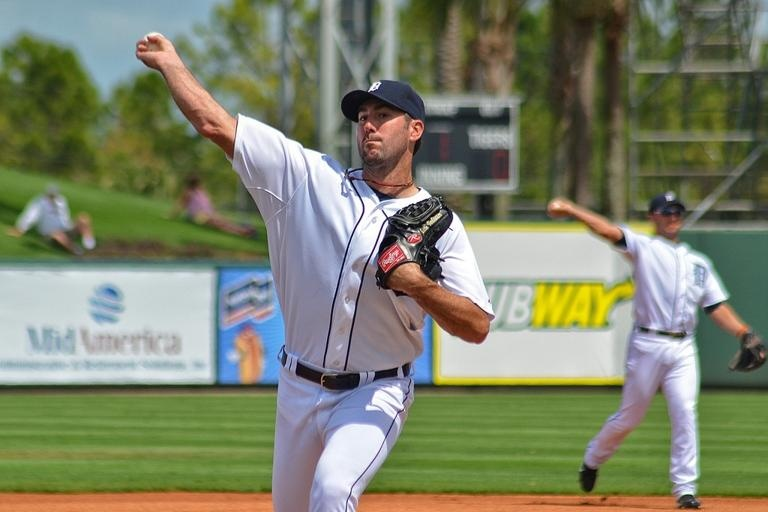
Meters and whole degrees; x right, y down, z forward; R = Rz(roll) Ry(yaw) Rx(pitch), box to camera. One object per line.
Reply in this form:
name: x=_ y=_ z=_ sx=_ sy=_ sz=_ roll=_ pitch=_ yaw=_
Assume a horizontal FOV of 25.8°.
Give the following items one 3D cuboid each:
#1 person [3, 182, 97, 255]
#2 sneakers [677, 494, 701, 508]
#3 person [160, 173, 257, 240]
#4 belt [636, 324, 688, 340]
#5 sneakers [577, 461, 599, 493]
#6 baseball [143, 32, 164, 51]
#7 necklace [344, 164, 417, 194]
person: x=-3.891 y=-0.458 z=20.140 sx=0.653 sy=0.853 sz=1.118 roll=2 pitch=5 yaw=33
sneakers: x=3.247 y=2.636 z=17.979 sx=0.121 sy=0.130 sz=0.268 roll=1 pitch=-11 yaw=-8
person: x=-2.984 y=-0.784 z=28.306 sx=1.170 sy=0.698 sz=1.011 roll=22 pitch=14 yaw=27
belt: x=2.983 y=0.818 z=18.049 sx=0.542 sy=0.129 sz=0.068 roll=0 pitch=4 yaw=9
sneakers: x=2.218 y=2.410 z=18.227 sx=0.150 sy=0.331 sz=0.139 roll=8 pitch=1 yaw=-18
baseball: x=-2.207 y=-2.057 z=16.013 sx=0.254 sy=0.191 sz=0.113 roll=-2 pitch=5 yaw=-17
necklace: x=-0.072 y=-0.745 z=16.231 sx=0.445 sy=0.109 sz=0.325 roll=24 pitch=-31 yaw=-17
